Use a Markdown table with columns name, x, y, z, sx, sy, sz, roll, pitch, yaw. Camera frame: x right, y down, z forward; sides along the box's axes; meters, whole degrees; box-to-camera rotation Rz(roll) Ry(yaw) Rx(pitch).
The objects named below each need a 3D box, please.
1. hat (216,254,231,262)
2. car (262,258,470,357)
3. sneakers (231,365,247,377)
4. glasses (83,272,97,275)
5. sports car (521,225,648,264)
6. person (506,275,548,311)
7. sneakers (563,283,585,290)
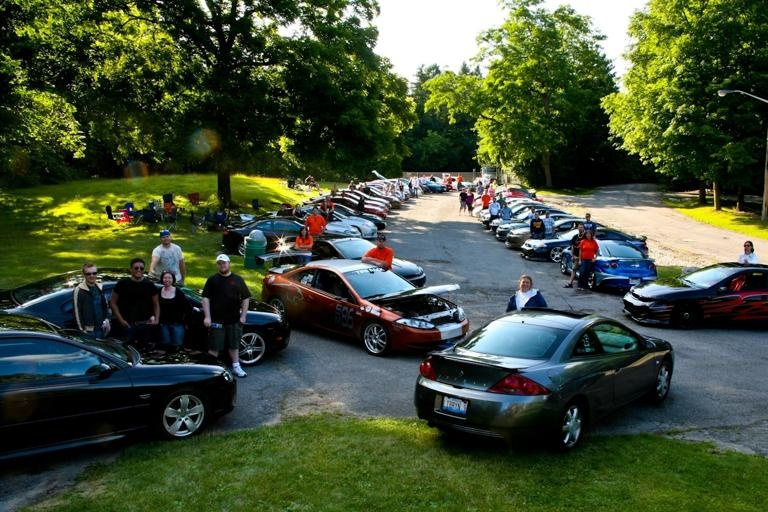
| name | x | y | z | sx | sy | sz | roll | pitch | yaw |
| --- | --- | --- | --- | --- | --- | --- | --- | --- | --- |
| hat | -4.023 | 0.039 | 13.521 | 0.369 | 0.191 | 0.516 | -2 | -1 | 1 |
| car | -0.603 | 1.122 | 13.661 | 4.645 | 1.359 | 2.299 | 11 | 18 | 27 |
| sneakers | -3.001 | 2.381 | 11.279 | 0.359 | 0.138 | 0.156 | 9 | 17 | 43 |
| glasses | -5.490 | 0.323 | 10.138 | 0.160 | 0.071 | 0.080 | -3 | 13 | -27 |
| sports car | 8.857 | -0.201 | 24.963 | 4.535 | 1.274 | 2.300 | 6 | 7 | 15 |
| person | 3.770 | 0.983 | 14.547 | 1.136 | 1.044 | 0.606 | 1 | -2 | 32 |
| sneakers | 7.165 | 1.174 | 20.869 | 0.657 | 0.162 | 0.225 | 3 | 2 | -15 |
